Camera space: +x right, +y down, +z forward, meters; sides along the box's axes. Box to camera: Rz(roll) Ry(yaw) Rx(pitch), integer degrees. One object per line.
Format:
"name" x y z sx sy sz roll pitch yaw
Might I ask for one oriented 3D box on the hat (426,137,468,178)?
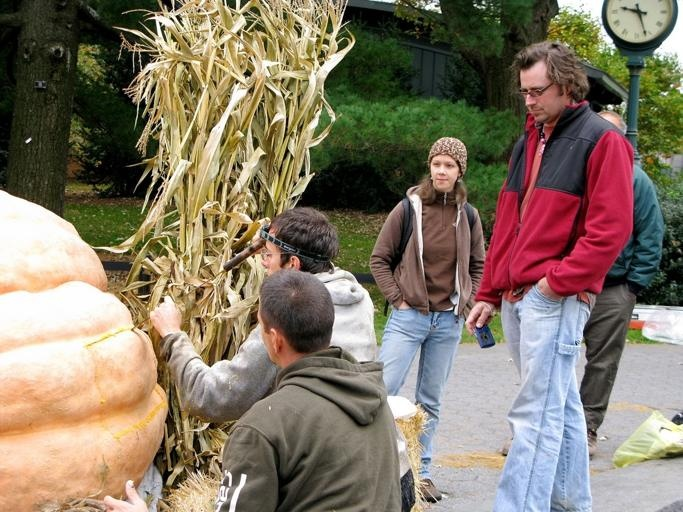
"hat" 0.690 -0.664 5.012 0.247 0.231 0.256 5 -7 4

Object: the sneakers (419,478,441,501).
"sneakers" 0.541 1.446 4.779 0.104 0.125 0.282 0 -6 -6
